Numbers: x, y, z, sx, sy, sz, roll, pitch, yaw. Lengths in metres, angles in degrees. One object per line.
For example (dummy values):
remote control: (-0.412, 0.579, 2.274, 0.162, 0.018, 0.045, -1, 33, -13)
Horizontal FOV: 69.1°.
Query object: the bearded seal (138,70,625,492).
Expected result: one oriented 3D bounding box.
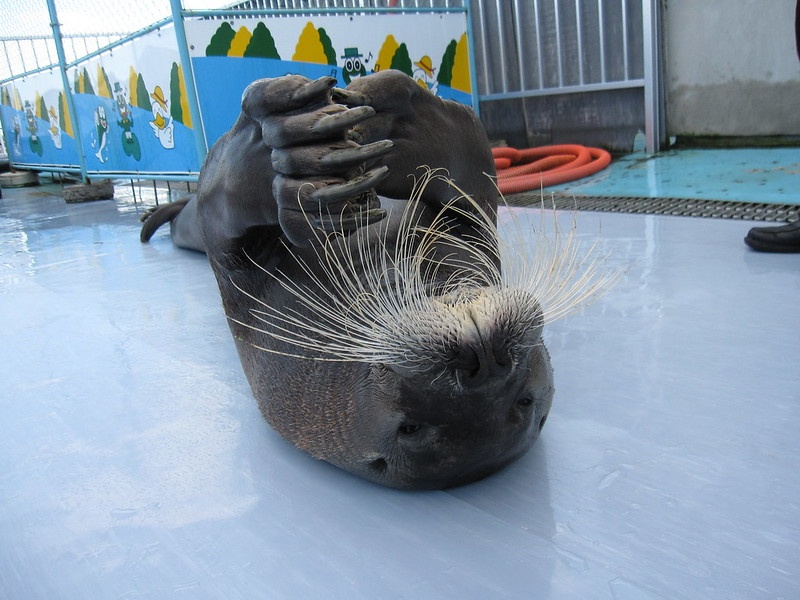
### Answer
bearded seal: (0.021, -0.045, 1.413, 0.629, 1.021, 0.851, -17, 21, -34)
